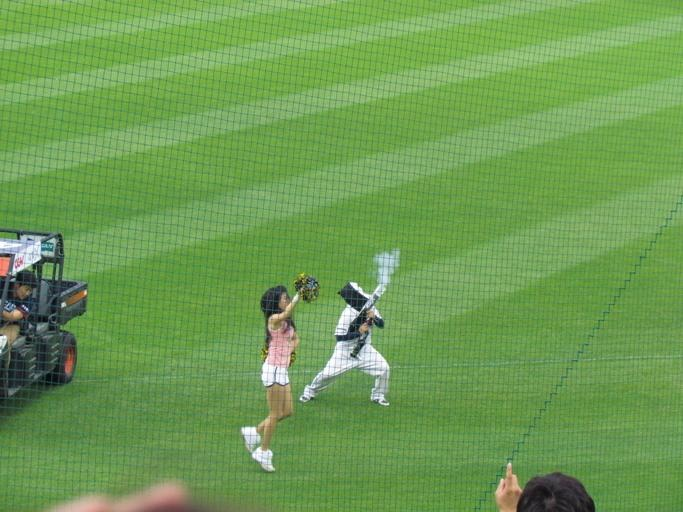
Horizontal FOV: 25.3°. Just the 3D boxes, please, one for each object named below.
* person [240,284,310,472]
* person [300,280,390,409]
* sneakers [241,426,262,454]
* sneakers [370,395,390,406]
[{"bbox_3d":[-1.181,2.050,26.023,0.821,3.100,1.170,5,-18,-11],"label":"person"},{"bbox_3d":[0.173,1.542,27.250,1.418,2.066,1.051,1,-18,1],"label":"person"},{"bbox_3d":[-1.558,3.142,26.267,0.270,0.430,0.218,1,4,10],"label":"sneakers"},{"bbox_3d":[0.708,2.557,27.377,0.321,0.135,0.159,13,21,20],"label":"sneakers"}]
